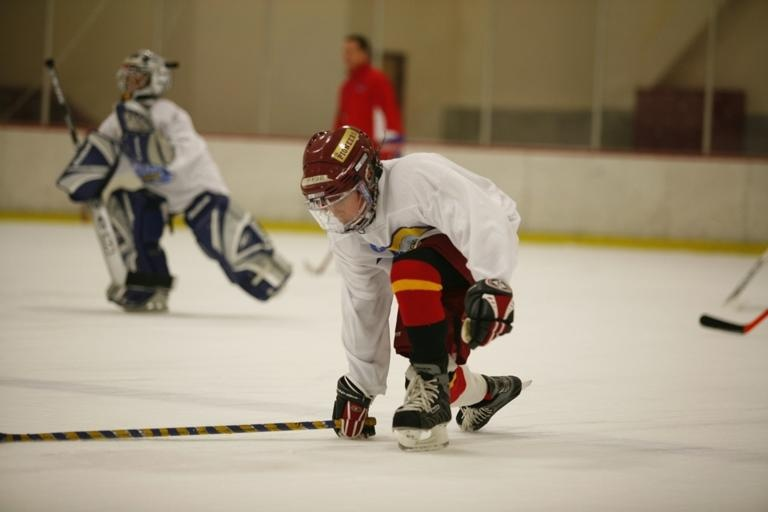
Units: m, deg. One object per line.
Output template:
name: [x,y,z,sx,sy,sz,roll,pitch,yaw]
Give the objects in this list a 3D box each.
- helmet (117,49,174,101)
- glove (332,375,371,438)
helmet: [-1.375,-1.018,4.983,0.308,0.227,0.234,-29,-13,-27]
glove: [-0.119,0.592,3.443,0.180,0.264,0.207,-2,-9,2]
